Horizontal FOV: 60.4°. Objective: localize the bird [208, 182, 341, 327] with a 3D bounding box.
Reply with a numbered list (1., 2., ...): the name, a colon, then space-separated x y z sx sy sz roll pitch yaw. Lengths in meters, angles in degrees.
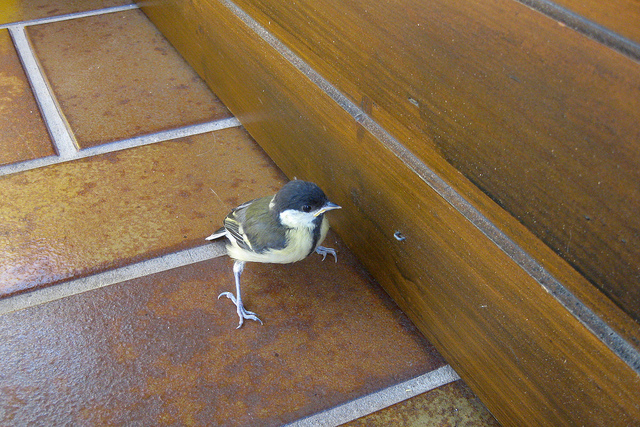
1. bird: -0.238 0.125 2.250 0.388 0.366 0.532 36 58 0
